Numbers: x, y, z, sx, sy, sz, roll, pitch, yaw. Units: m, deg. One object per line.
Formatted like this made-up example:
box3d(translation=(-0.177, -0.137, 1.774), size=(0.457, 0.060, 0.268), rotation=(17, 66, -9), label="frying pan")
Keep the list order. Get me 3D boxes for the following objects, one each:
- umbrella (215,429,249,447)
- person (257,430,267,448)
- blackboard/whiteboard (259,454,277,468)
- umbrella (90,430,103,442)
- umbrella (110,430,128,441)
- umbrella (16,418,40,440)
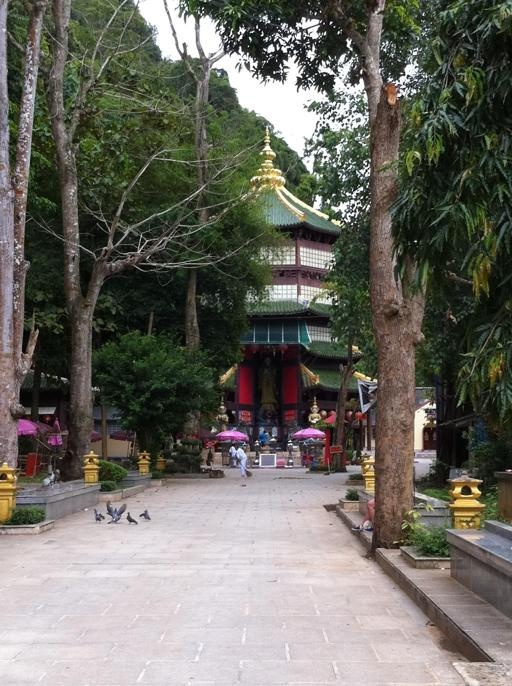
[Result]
box3d(translation=(-1.226, 4.696, 35.843), size=(1.850, 0.688, 1.831), rotation=(-1, -14, 3), label="umbrella")
box3d(translation=(0.393, 5.686, 43.467), size=(0.583, 0.792, 0.627), rotation=(1, -9, 6), label="person")
box3d(translation=(0.550, 5.648, 34.906), size=(0.626, 0.581, 0.227), rotation=(0, -9, 3), label="blackboard/whiteboard")
box3d(translation=(-6.681, 3.980, 31.005), size=(0.337, 0.418, 2.652), rotation=(1, -7, -11), label="umbrella")
box3d(translation=(-5.945, 4.077, 32.066), size=(0.704, 0.463, 2.549), rotation=(1, -7, -11), label="umbrella")
box3d(translation=(-7.813, 2.982, 25.472), size=(0.652, 0.616, 3.502), rotation=(1, -7, -17), label="umbrella")
